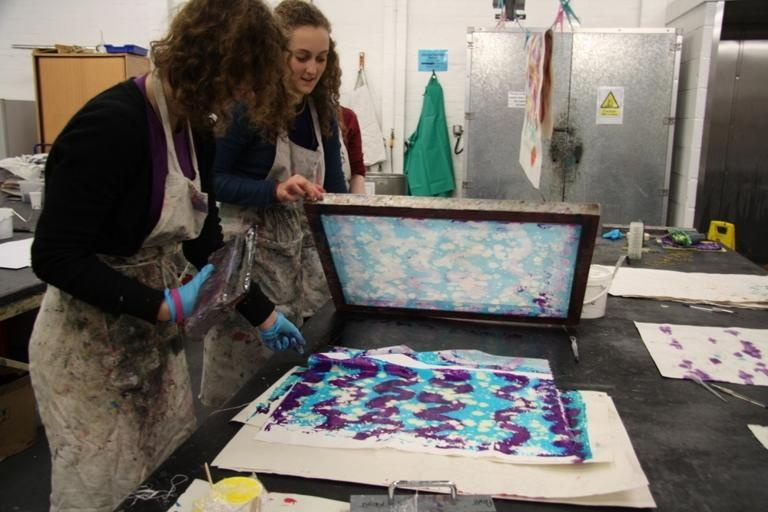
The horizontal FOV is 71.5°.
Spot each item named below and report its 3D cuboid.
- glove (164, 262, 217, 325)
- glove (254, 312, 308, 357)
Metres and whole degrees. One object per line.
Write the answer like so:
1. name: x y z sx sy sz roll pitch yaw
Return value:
1. glove: -0.567 0.087 1.697 0.077 0.090 0.307 18 36 12
2. glove: -0.352 0.274 1.850 0.165 0.118 0.075 31 -10 -25
